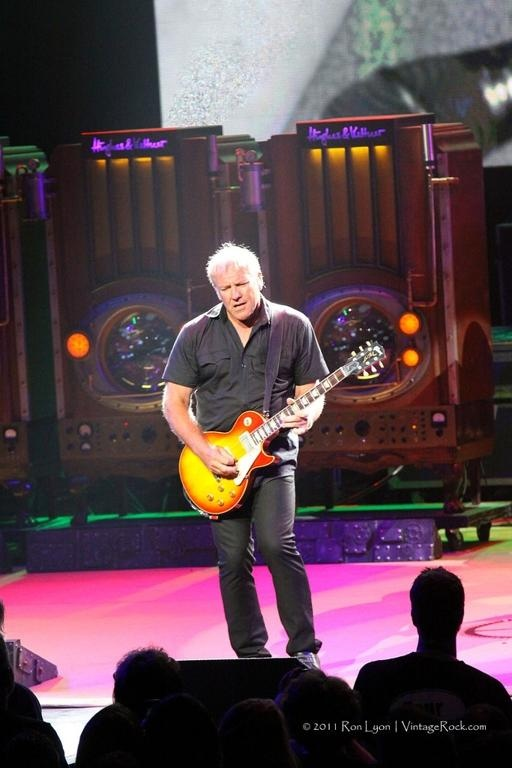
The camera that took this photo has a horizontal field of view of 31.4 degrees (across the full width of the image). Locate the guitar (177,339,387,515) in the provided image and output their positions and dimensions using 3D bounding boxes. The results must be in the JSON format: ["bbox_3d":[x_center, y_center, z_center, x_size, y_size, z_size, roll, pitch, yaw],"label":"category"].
[{"bbox_3d":[0.070,0.233,4.039,0.879,0.691,0.326,-3,9,-4],"label":"guitar"}]
